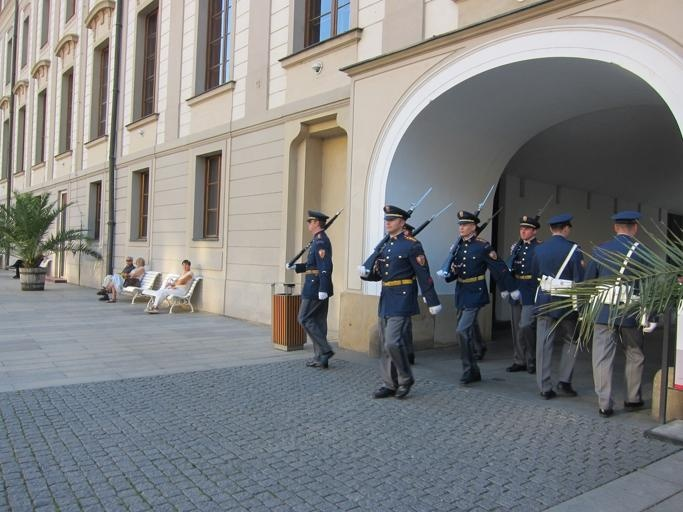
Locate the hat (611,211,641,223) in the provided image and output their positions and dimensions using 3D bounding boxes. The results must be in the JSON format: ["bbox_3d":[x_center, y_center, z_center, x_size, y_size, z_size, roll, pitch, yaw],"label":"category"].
[{"bbox_3d":[2.868,-0.392,5.835,0.257,0.111,0.196,2,4,16],"label":"hat"}]

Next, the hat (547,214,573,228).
[{"bbox_3d":[2.560,-0.424,6.755,0.264,0.109,0.228,-3,7,-30],"label":"hat"}]

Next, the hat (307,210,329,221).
[{"bbox_3d":[-0.293,-0.545,7.899,0.283,0.126,0.247,0,1,-41],"label":"hat"}]

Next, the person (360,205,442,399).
[{"bbox_3d":[0.628,0.487,6.654,0.676,2.122,0.867,-1,4,-32],"label":"person"}]

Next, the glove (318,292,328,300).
[{"bbox_3d":[-0.250,0.512,7.695,0.089,0.134,0.218,2,-5,-17],"label":"glove"}]

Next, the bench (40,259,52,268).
[{"bbox_3d":[-9.423,0.195,18.432,0.250,0.255,0.087,12,-14,44],"label":"bench"}]

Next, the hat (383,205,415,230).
[{"bbox_3d":[0.659,-0.462,6.852,0.269,0.174,0.311,3,-1,43],"label":"hat"}]

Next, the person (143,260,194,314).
[{"bbox_3d":[-3.726,0.605,12.647,0.927,1.056,1.255,0,4,-14],"label":"person"}]

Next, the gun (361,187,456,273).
[{"bbox_3d":[0.866,-0.386,7.971,0.339,1.668,0.110,32,-25,36],"label":"gun"}]

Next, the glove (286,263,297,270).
[{"bbox_3d":[-0.761,0.147,8.468,0.142,0.073,0.192,2,0,-26],"label":"glove"}]

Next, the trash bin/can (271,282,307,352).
[{"bbox_3d":[-0.813,0.893,8.929,0.583,0.975,0.569,1,0,20],"label":"trash bin/can"}]

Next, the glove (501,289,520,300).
[{"bbox_3d":[2.175,0.494,7.489,0.146,0.084,0.206,1,2,1],"label":"glove"}]

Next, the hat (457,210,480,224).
[{"bbox_3d":[1.671,-0.503,7.565,0.298,0.163,0.275,3,-1,-42],"label":"hat"}]

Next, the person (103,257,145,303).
[{"bbox_3d":[-5.392,0.525,14.260,0.912,1.283,0.544,24,-24,-39],"label":"person"}]

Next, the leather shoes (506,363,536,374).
[{"bbox_3d":[2.442,1.515,7.895,0.421,0.189,0.140,-1,-3,-14],"label":"leather shoes"}]

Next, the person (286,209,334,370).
[{"bbox_3d":[-0.367,0.418,7.956,0.443,2.058,0.777,0,4,-22],"label":"person"}]

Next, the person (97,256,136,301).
[{"bbox_3d":[-5.826,0.565,15.059,0.847,1.214,0.542,22,-26,-32],"label":"person"}]

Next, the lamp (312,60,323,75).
[{"bbox_3d":[-0.437,-3.297,10.158,0.088,0.217,0.285,-1,4,-31],"label":"lamp"}]

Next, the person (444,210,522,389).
[{"bbox_3d":[1.639,0.474,7.442,0.796,2.092,0.666,-1,4,-35],"label":"person"}]

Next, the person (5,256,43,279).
[{"bbox_3d":[-10.260,0.360,18.734,0.731,0.669,0.865,1,-2,-5],"label":"person"}]

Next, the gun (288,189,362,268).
[{"bbox_3d":[-0.263,-0.434,9.480,2.003,0.258,0.242,-39,-41,22],"label":"gun"}]
